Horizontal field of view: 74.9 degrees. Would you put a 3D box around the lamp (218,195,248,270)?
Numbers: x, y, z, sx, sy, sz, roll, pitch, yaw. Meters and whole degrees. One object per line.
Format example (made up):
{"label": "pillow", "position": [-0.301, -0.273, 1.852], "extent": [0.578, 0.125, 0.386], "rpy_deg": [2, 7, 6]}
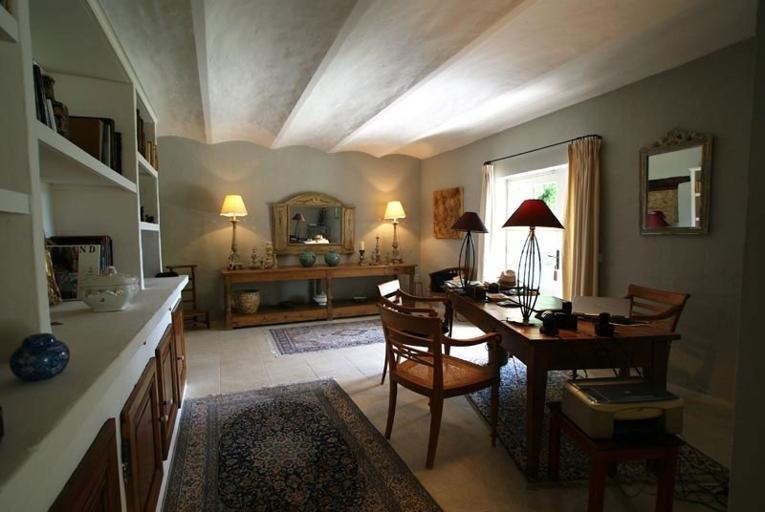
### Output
{"label": "lamp", "position": [-1.980, -0.326, 6.690], "extent": [0.375, 0.987, 0.533], "rpy_deg": [-3, 9, -18]}

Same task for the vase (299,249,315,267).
{"label": "vase", "position": [-1.036, 0.044, 6.937], "extent": [0.201, 0.236, 0.203], "rpy_deg": [0, 3, 15]}

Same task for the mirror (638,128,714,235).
{"label": "mirror", "position": [2.470, -0.621, 4.251], "extent": [0.121, 0.890, 0.629], "rpy_deg": [-4, 9, -24]}

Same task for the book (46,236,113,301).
{"label": "book", "position": [-1.953, 0.091, 3.202], "extent": [0.420, 0.409, 0.228], "rpy_deg": [-2, 0, -30]}

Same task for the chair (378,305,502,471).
{"label": "chair", "position": [0.383, 0.869, 3.767], "extent": [0.684, 1.005, 0.769], "rpy_deg": [-8, 9, -37]}

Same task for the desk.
{"label": "desk", "position": [-0.851, 0.550, 7.084], "extent": [2.766, 0.785, 0.527], "rpy_deg": [-2, 2, -28]}

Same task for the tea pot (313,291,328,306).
{"label": "tea pot", "position": [-0.882, 0.600, 7.073], "extent": [0.196, 0.139, 0.180], "rpy_deg": [0, -1, 0]}

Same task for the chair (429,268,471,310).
{"label": "chair", "position": [0.833, 0.371, 6.646], "extent": [0.384, 0.490, 0.391], "rpy_deg": [6, -7, -44]}

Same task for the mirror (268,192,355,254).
{"label": "mirror", "position": [-1.091, -0.473, 7.253], "extent": [0.928, 0.710, 0.067], "rpy_deg": [-2, 2, -30]}

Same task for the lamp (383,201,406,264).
{"label": "lamp", "position": [0.169, -0.382, 7.757], "extent": [0.316, 0.947, 0.627], "rpy_deg": [0, 8, 2]}

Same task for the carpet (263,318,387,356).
{"label": "carpet", "position": [-0.646, 0.947, 6.046], "extent": [1.393, 0.053, 1.330], "rpy_deg": [-2, 8, -15]}

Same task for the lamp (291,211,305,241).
{"label": "lamp", "position": [-1.209, -0.424, 7.196], "extent": [0.200, 0.407, 0.051], "rpy_deg": [-3, 9, -18]}

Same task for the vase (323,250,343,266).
{"label": "vase", "position": [-0.727, 0.032, 7.203], "extent": [0.225, 0.178, 0.206], "rpy_deg": [2, -4, -26]}

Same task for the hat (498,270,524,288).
{"label": "hat", "position": [1.187, 0.220, 4.665], "extent": [0.123, 0.140, 0.189], "rpy_deg": [1, -4, -28]}

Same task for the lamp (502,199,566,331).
{"label": "lamp", "position": [1.198, 0.031, 4.035], "extent": [0.464, 0.914, 0.455], "rpy_deg": [3, 2, 12]}

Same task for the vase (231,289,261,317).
{"label": "vase", "position": [-1.772, 0.610, 6.506], "extent": [0.323, 0.232, 0.313], "rpy_deg": [1, 3, 13]}
